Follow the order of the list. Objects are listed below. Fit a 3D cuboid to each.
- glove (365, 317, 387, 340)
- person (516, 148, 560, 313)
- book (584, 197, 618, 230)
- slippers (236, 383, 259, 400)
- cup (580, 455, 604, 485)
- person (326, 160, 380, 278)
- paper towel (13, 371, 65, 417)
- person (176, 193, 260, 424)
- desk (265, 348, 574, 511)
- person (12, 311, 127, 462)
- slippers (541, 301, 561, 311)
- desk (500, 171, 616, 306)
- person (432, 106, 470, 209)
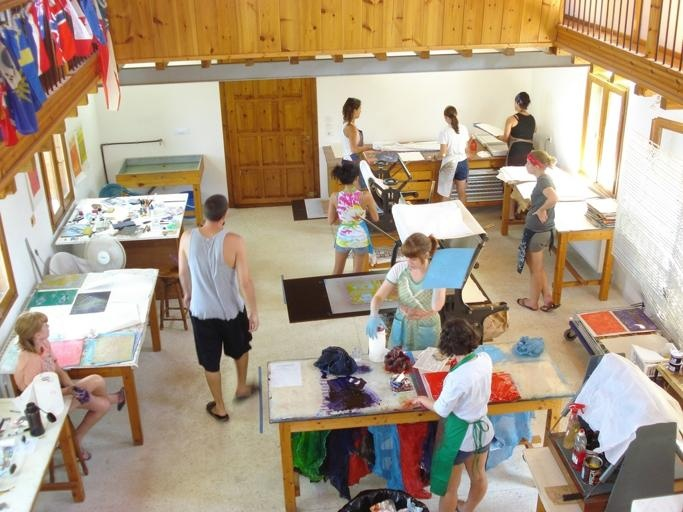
[{"bbox_3d":[0.315,0.675,4.817,0.167,0.211,0.202,1,35,4],"label":"glove"},{"bbox_3d":[2.692,-0.306,7.116,0.460,2.244,0.376,7,27,20],"label":"person"},{"bbox_3d":[3.705,-0.625,7.303,0.426,0.149,0.339,-4,32,-10],"label":"book"},{"bbox_3d":[-1.108,1.603,6.124,0.118,0.199,0.284,10,38,16],"label":"slippers"},{"bbox_3d":[1.729,1.468,3.553,0.116,0.177,0.195,15,41,28],"label":"cup"},{"bbox_3d":[0.164,-0.468,6.897,0.627,1.658,0.409,0,25,4],"label":"person"},{"bbox_3d":[-2.564,1.207,4.397,0.331,0.399,0.392,-3,38,-30],"label":"paper towel"},{"bbox_3d":[-1.287,0.578,5.454,0.754,2.519,0.499,-6,25,-9],"label":"person"},{"bbox_3d":[0.528,1.880,5.356,3.198,1.732,1.233,-4,42,-5],"label":"desk"},{"bbox_3d":[-2.605,1.242,4.913,0.898,1.458,0.813,-8,32,-20],"label":"person"},{"bbox_3d":[2.993,0.737,7.416,0.251,0.115,0.115,-23,20,16],"label":"slippers"},{"bbox_3d":[3.429,-0.410,8.536,0.869,1.298,2.687,-7,27,1],"label":"desk"},{"bbox_3d":[1.992,-1.779,9.258,0.603,1.846,0.351,-10,26,-16],"label":"person"}]
